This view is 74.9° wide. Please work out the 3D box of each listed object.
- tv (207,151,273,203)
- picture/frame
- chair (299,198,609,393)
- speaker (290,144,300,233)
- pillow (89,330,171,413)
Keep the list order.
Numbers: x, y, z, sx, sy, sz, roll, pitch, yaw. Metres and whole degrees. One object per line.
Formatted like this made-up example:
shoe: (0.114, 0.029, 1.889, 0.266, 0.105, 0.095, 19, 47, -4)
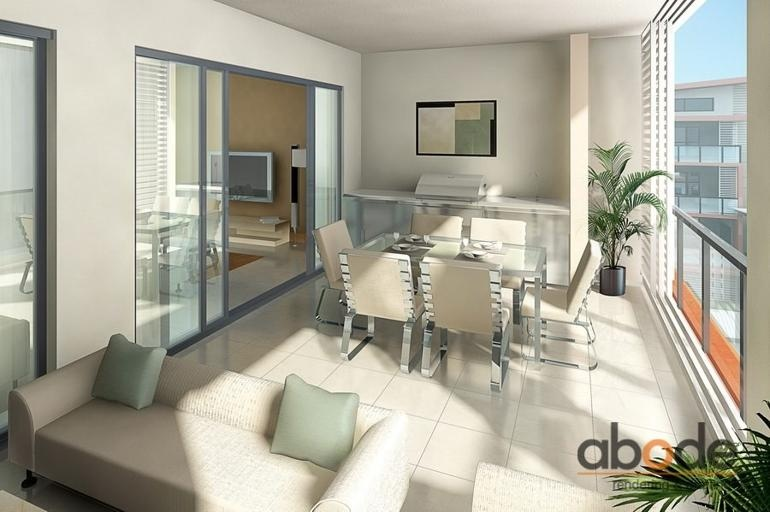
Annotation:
tv: (-2.813, -1.500, 9.519, 1.309, 0.937, 0.149, 1, 13, 2)
picture/frame: (1.097, -1.913, 7.448, 0.916, 0.649, 0.035, 3, 7, 22)
chair: (0.796, 0.330, 5.455, 2.634, 1.210, 2.380, -2, 14, -8)
speaker: (-1.682, -1.022, 9.287, 0.188, 1.256, 0.492, -3, 14, -10)
pillow: (-1.893, 0.848, 3.717, 0.465, 0.456, 0.143, 14, -17, 14)
